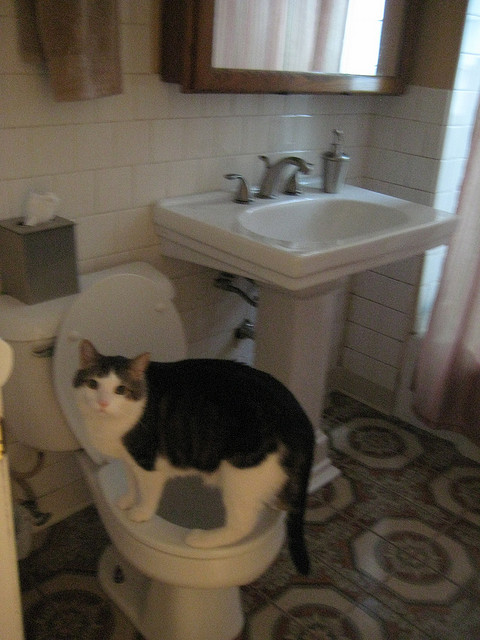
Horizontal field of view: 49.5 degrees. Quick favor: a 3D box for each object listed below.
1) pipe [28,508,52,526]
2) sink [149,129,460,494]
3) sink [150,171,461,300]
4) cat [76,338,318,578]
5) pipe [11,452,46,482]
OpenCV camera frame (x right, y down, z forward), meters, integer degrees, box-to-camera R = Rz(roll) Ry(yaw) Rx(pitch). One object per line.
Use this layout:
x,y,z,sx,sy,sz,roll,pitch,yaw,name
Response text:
-0.516,0.510,1.340,0.044,0.050,0.033,-28,15,-12,pipe
0.160,0.012,1.456,0.644,0.864,0.513,-18,32,-40,sink
0.178,-0.240,1.385,0.649,0.265,0.484,-19,33,-40,sink
-0.084,0.198,0.917,0.437,0.306,0.252,10,20,3,cat
-0.509,0.362,1.256,0.077,0.018,0.073,-2,65,5,pipe
